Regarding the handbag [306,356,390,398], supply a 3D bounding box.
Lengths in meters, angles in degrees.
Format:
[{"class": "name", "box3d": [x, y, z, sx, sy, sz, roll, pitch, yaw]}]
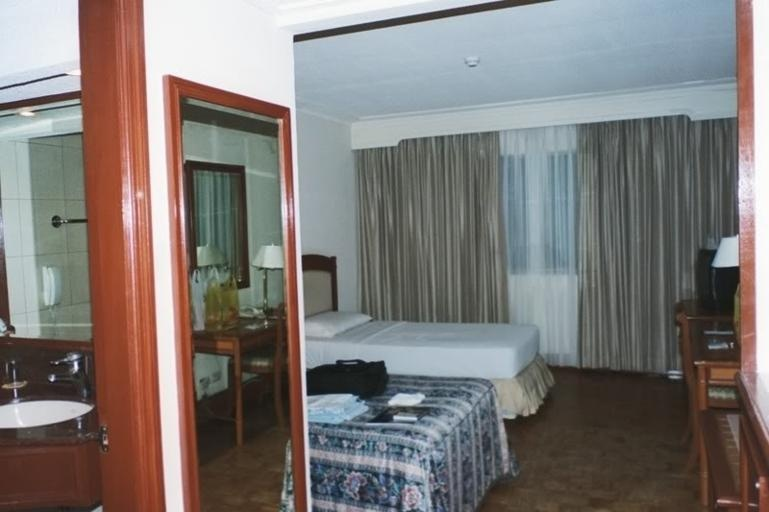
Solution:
[{"class": "handbag", "box3d": [-0.295, 0.971, 4.682, 0.404, 0.152, 0.318, -2, -1, 27]}]

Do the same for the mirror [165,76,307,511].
[{"class": "mirror", "box3d": [-0.720, 0.295, 3.058, 0.253, 2.366, 0.946, 2, 10, 33]}]

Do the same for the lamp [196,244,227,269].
[{"class": "lamp", "box3d": [-0.861, 0.005, 2.889, 0.102, 0.052, 0.103, 10, 21, 38]}]

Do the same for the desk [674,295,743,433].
[{"class": "desk", "box3d": [2.406, 0.779, 4.364, 0.455, 0.720, 1.203, -3, 4, 17]}]

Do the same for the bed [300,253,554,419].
[{"class": "bed", "box3d": [0.310, 0.810, 6.264, 2.394, 1.445, 1.562, -1, 5, 15]}]

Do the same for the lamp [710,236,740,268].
[{"class": "lamp", "box3d": [2.989, -0.019, 5.160, 0.192, 0.277, 0.250, 2, 10, 34]}]

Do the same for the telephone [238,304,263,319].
[{"class": "telephone", "box3d": [-0.685, 0.294, 3.062, 0.090, 0.057, 0.027, 14, -35, -35]}]

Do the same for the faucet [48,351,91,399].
[{"class": "faucet", "box3d": [-1.761, 0.674, 3.282, 0.176, 0.180, 0.064, -2, -3, -42]}]
